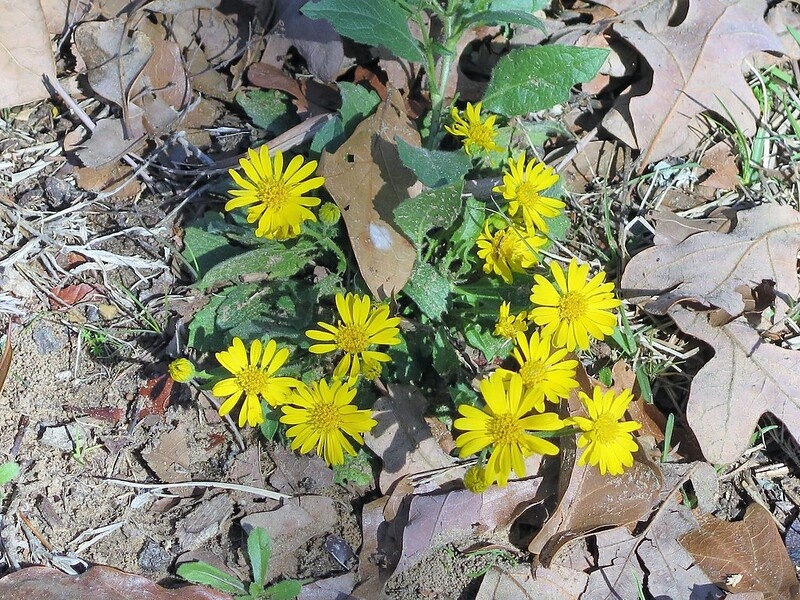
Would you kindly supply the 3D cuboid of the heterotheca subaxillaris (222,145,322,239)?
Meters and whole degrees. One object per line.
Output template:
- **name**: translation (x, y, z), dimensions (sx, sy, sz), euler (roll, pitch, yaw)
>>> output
- **heterotheca subaxillaris**: translation (-0.564, -0.494, 3.234), dimensions (0.414, 0.432, 0.175), euler (-9, 74, -19)

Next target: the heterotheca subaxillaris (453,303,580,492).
- **heterotheca subaxillaris**: translation (0.469, 0.440, 3.118), dimensions (0.450, 0.202, 0.692), euler (42, 73, -3)

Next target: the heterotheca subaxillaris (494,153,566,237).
- **heterotheca subaxillaris**: translation (0.587, -0.453, 3.345), dimensions (0.331, 0.121, 0.339), euler (-34, 101, -16)

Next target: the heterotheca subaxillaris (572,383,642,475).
- **heterotheca subaxillaris**: translation (0.821, 0.503, 3.054), dimensions (0.318, 0.333, 0.077), euler (-19, 116, -18)

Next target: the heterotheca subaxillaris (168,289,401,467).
- **heterotheca subaxillaris**: translation (-0.452, 0.279, 3.237), dimensions (0.835, 0.604, 0.667), euler (22, 59, 4)

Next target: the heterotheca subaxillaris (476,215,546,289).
- **heterotheca subaxillaris**: translation (0.495, -0.229, 3.400), dimensions (0.282, 0.106, 0.299), euler (-27, 93, 3)
